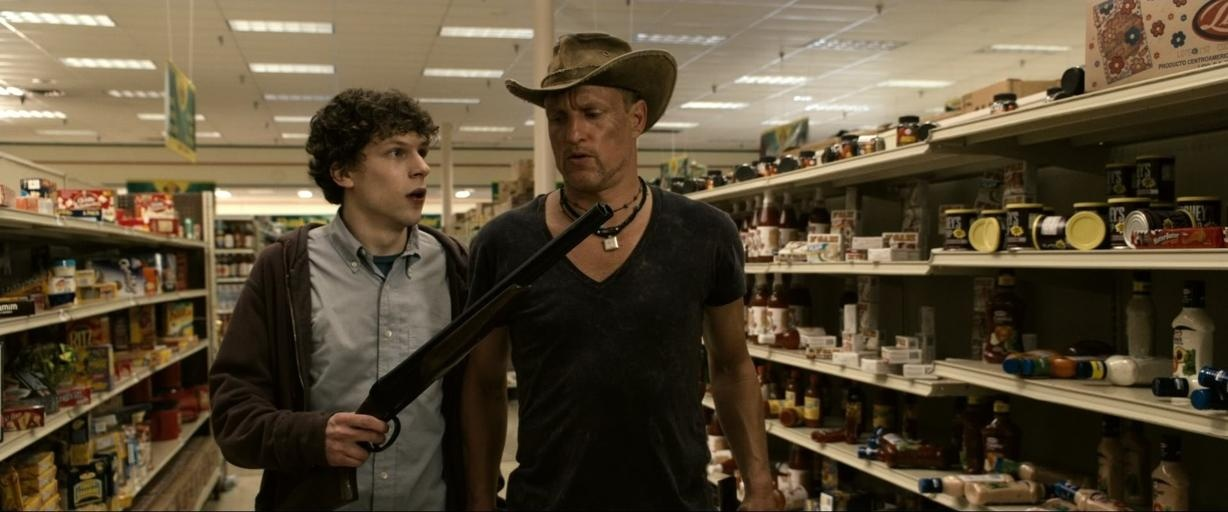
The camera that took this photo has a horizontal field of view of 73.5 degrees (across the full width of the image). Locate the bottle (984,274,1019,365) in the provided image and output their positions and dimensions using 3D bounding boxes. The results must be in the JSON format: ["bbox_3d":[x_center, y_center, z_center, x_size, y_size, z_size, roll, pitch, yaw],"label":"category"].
[{"bbox_3d":[4.075,0.626,8.574,0.274,0.950,0.312,-1,2,-43],"label":"bottle"}]

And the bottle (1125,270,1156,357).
[{"bbox_3d":[5.297,0.574,8.220,0.235,0.836,0.170,1,2,20],"label":"bottle"}]
